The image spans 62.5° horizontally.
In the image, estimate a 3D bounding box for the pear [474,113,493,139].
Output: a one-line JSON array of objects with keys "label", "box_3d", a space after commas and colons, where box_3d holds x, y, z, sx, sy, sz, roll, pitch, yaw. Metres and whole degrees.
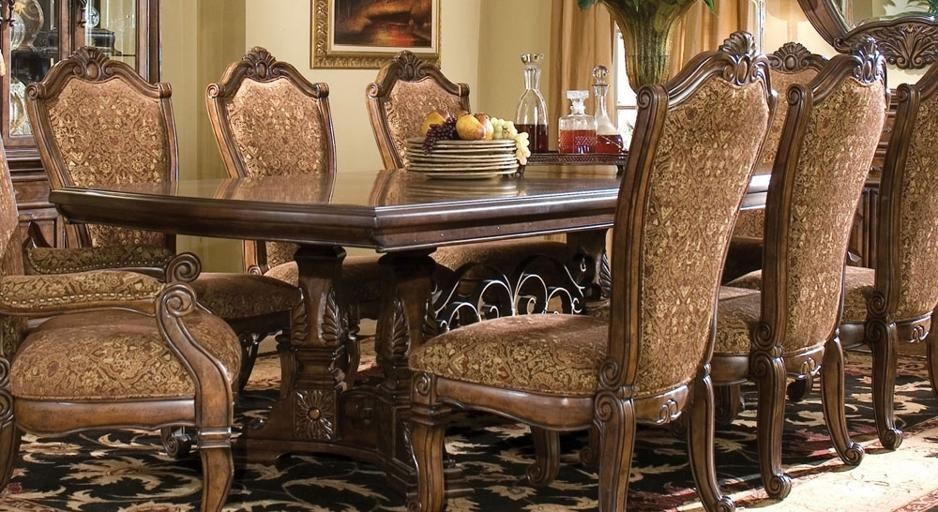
[{"label": "pear", "box_3d": [0.047, -0.584, 3.423, 0.069, 0.112, 0.090, -10, -17, 21]}]

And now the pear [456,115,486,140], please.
[{"label": "pear", "box_3d": [0.006, -0.554, 3.348, 0.096, 0.096, 0.125, -11, 11, -38]}]

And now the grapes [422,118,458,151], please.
[{"label": "grapes", "box_3d": [-0.130, -0.527, 3.366, 0.083, 0.115, 0.160, 6, 28, -11]}]
